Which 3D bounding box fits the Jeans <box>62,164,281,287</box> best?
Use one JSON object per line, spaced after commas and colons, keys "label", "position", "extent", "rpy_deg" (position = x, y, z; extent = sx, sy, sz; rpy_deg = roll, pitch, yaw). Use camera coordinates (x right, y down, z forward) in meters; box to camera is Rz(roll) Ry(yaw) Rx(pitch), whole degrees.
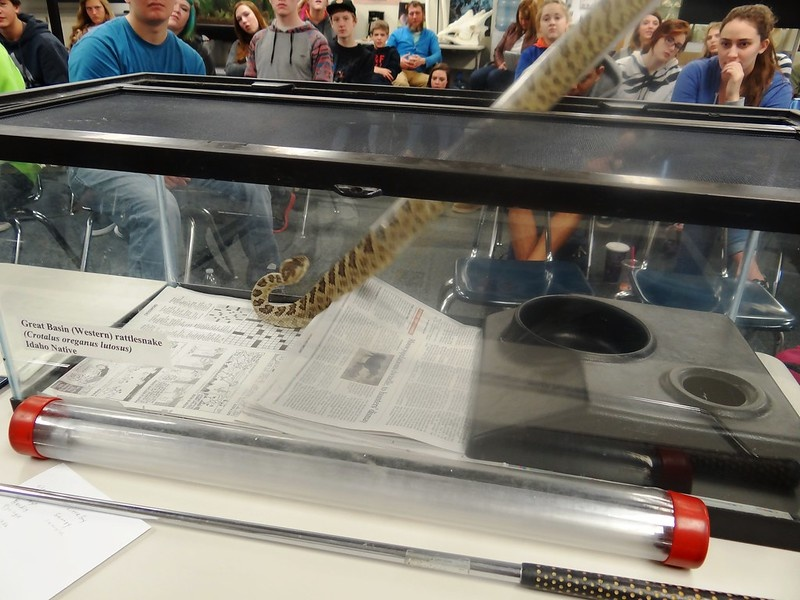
{"label": "Jeans", "position": [-0.397, -0.129, 1.158], "extent": [0.392, 0.214, 0.212], "rpy_deg": [3, -3, 13]}

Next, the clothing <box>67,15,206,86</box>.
{"label": "clothing", "position": [-0.957, -0.954, 2.204], "extent": [0.474, 0.201, 0.310], "rpy_deg": [0, -16, -18]}

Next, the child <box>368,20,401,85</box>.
{"label": "child", "position": [-0.164, -1.789, 4.197], "extent": [0.324, 0.419, 0.259], "rpy_deg": [14, 30, 27]}

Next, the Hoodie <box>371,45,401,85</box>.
{"label": "Hoodie", "position": [-0.100, -1.716, 4.170], "extent": [0.276, 0.307, 0.094], "rpy_deg": [3, 3, -4]}

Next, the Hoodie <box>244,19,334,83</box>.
{"label": "Hoodie", "position": [-0.563, -1.211, 2.876], "extent": [0.468, 0.325, 0.177], "rpy_deg": [10, 33, 12]}

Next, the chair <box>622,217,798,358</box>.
{"label": "chair", "position": [0.433, -0.034, 0.836], "extent": [0.204, 0.187, 0.268], "rpy_deg": [2, -17, 12]}

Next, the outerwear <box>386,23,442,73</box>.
{"label": "outerwear", "position": [0.083, -1.889, 4.267], "extent": [0.434, 0.279, 0.222], "rpy_deg": [5, 40, -6]}

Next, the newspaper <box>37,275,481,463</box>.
{"label": "newspaper", "position": [-0.195, 0.126, 0.952], "extent": [0.618, 0.081, 0.305], "rpy_deg": [9, 43, 11]}

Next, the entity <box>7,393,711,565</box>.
{"label": "entity", "position": [-0.044, 0.268, 0.837], "extent": [0.895, 0.088, 0.102], "rpy_deg": [7, 31, 10]}

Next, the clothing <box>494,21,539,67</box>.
{"label": "clothing", "position": [0.423, -0.916, 2.060], "extent": [0.155, 0.125, 0.082], "rpy_deg": [11, 29, 14]}

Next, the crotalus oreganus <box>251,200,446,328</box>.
{"label": "crotalus oreganus", "position": [-0.084, -0.036, 0.948], "extent": [0.400, 0.091, 0.155], "rpy_deg": [-22, 13, 26]}

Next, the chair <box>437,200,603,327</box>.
{"label": "chair", "position": [0.190, -0.055, 0.883], "extent": [0.165, 0.168, 0.256], "rpy_deg": [-1, -2, 3]}
